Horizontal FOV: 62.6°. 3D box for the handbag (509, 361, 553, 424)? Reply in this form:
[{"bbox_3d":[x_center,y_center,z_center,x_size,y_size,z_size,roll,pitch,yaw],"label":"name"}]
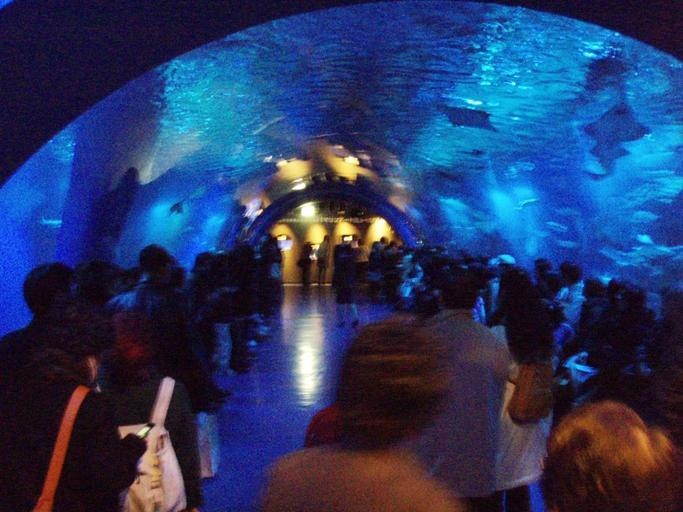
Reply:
[{"bbox_3d":[1.524,1.094,4.484,0.420,0.470,0.122,1,-7,-17],"label":"handbag"}]

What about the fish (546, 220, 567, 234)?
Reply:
[{"bbox_3d":[3.684,-0.502,9.648,0.078,0.136,0.356,27,5,-16],"label":"fish"}]

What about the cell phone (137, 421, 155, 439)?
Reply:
[{"bbox_3d":[-1.374,1.221,3.937,0.136,0.053,0.242,26,-27,-14],"label":"cell phone"}]

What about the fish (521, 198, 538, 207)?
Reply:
[{"bbox_3d":[3.367,-0.962,10.162,0.085,0.116,0.525,1,-7,-11],"label":"fish"}]
